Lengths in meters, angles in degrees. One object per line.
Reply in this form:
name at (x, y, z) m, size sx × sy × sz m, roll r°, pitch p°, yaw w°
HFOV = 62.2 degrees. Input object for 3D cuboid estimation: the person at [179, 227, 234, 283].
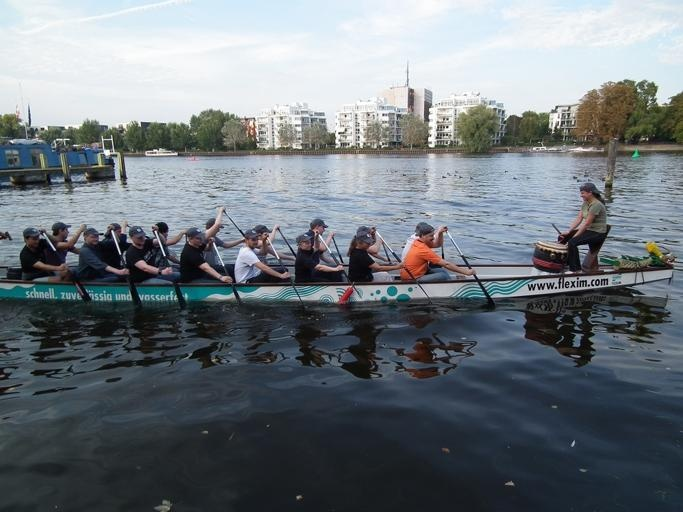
person at (-3.258, 0.008, 13.622) m, size 1.175 × 0.979 × 1.602 m, roll -6°, pitch 36°, yaw -26°

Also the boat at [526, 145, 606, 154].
boat at (42.293, -19.671, 105.639) m, size 17.143 × 1.679 × 3.156 m, roll 5°, pitch 13°, yaw 33°

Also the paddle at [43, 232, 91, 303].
paddle at (-6.251, 0.288, 12.841) m, size 0.343 × 2.186 × 0.164 m, roll -43°, pitch -10°, yaw 5°

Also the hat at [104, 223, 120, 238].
hat at (-5.440, -0.625, 13.528) m, size 0.354 × 0.300 × 0.410 m, roll -2°, pitch 20°, yaw -29°

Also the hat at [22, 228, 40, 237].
hat at (-6.824, -0.489, 12.501) m, size 0.313 × 0.208 × 0.190 m, roll -7°, pitch 14°, yaw -20°

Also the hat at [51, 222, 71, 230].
hat at (-6.509, -0.717, 13.274) m, size 0.316 × 0.195 × 0.469 m, roll 6°, pitch 9°, yaw 37°

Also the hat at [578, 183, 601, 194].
hat at (5.649, -1.531, 12.784) m, size 0.486 × 0.171 × 0.275 m, roll 2°, pitch 12°, yaw 2°

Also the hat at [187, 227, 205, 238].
hat at (-3.219, -0.519, 12.392) m, size 0.393 × 0.157 × 0.235 m, roll -10°, pitch 14°, yaw -8°
